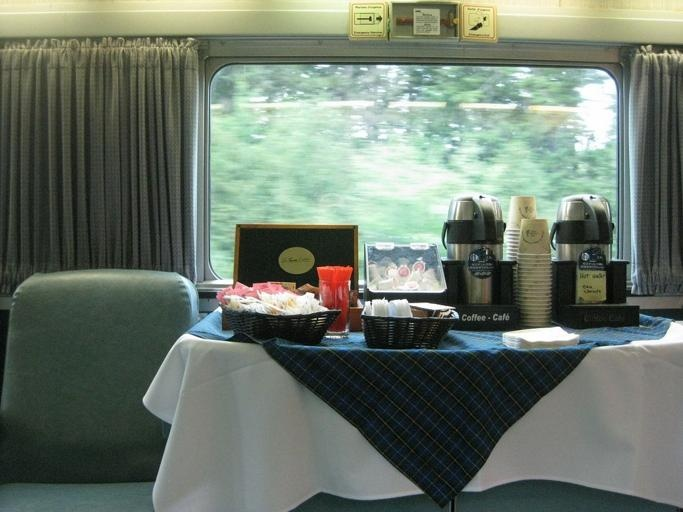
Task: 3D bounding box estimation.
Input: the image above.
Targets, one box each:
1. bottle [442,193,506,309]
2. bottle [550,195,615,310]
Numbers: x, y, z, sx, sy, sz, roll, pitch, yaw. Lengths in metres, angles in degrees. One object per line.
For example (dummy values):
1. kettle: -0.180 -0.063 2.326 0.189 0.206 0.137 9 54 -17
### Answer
1. bottle: 0.522 -0.034 2.658 0.243 0.437 0.189 -1 4 12
2. bottle: 0.936 -0.029 2.609 0.228 0.424 0.096 0 4 16
